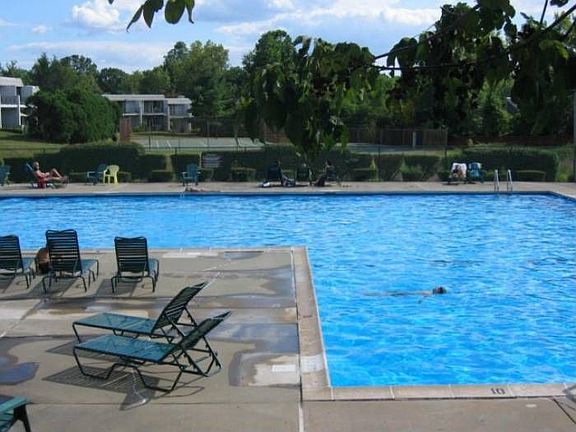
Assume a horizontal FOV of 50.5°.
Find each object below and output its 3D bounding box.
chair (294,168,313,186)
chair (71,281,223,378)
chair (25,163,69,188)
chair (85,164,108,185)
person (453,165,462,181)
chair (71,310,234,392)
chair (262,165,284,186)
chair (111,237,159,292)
[{"bbox_3d":[0.681,-1.909,29.197,0.782,0.864,0.635,0,9,0],"label":"chair"},{"bbox_3d":[-1.670,1.503,7.551,1.496,0.746,1.323,4,2,10],"label":"chair"},{"bbox_3d":[-11.508,-1.773,28.325,2.073,1.264,1.384,-1,6,-5],"label":"chair"},{"bbox_3d":[-9.860,-2.147,31.080,1.022,0.953,2.654,-3,10,-18],"label":"chair"},{"bbox_3d":[8.461,-2.153,30.767,0.583,0.753,0.235,1,-4,-39],"label":"person"},{"bbox_3d":[-1.681,1.535,7.413,1.737,0.796,0.923,7,1,4],"label":"chair"},{"bbox_3d":[-0.683,-1.965,29.785,0.966,1.243,1.104,-1,-3,3],"label":"chair"},{"bbox_3d":[-2.898,0.808,11.442,0.718,0.797,1.212,0,5,0],"label":"chair"}]
